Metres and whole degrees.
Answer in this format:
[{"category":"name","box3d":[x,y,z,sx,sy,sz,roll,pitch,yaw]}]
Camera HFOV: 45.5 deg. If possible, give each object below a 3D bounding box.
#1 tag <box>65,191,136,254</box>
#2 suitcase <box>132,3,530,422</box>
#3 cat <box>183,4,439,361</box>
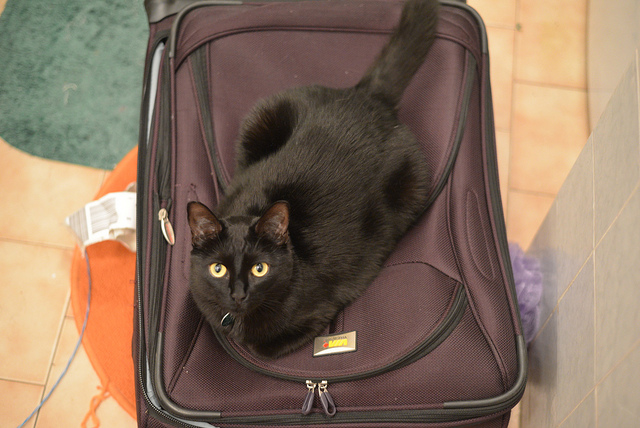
[{"category":"tag","box3d":[-0.656,0.019,2.329,0.192,0.083,0.154,-11,70,7]},{"category":"suitcase","box3d":[-0.034,0.000,2.190,1.128,0.545,1.261,-8,82,1]},{"category":"cat","box3d":[0.058,-0.105,2.089,0.522,0.423,0.997,26,83,20]}]
